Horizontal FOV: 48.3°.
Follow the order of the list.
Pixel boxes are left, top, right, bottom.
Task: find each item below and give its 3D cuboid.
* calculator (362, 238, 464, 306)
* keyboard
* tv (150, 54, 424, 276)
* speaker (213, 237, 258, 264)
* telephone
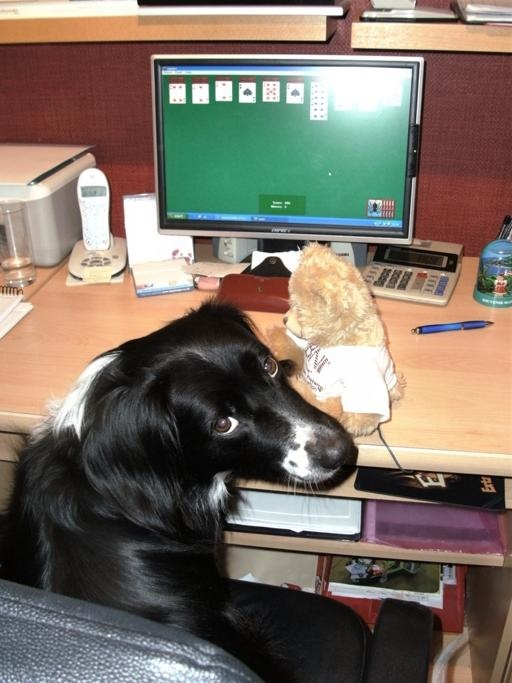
[{"bbox_3d":[0.382,-0.176,1.355,0.195,0.051,0.200,11,40,21],"label":"calculator"},{"bbox_3d":[-0.116,0.372,1.403,0.343,0.101,0.486,11,-10,-15],"label":"keyboard"},{"bbox_3d":[0.078,-0.416,1.294,0.669,0.431,0.030,3,27,5],"label":"tv"},{"bbox_3d":[-0.054,-0.257,1.509,0.080,0.077,0.084,22,37,32],"label":"speaker"},{"bbox_3d":[-0.408,-0.300,1.440,0.161,0.233,0.228,-4,36,-14],"label":"telephone"}]
